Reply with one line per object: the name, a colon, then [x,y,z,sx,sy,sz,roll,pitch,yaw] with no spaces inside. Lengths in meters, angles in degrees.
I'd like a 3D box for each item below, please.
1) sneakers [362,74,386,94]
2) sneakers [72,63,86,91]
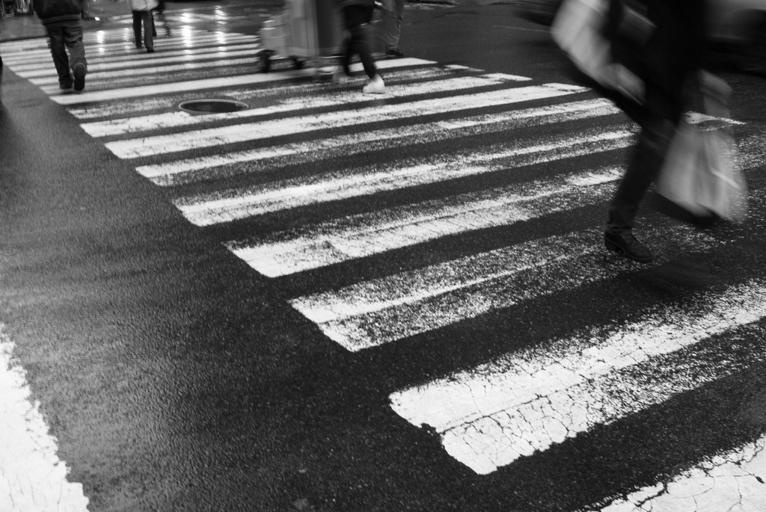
sneakers: [-0.134,-2.669,10.388,0.280,0.282,0.301,-16,13,15]
sneakers: [-4.922,-2.925,10.697,0.167,0.523,0.205,3,41,-27]
